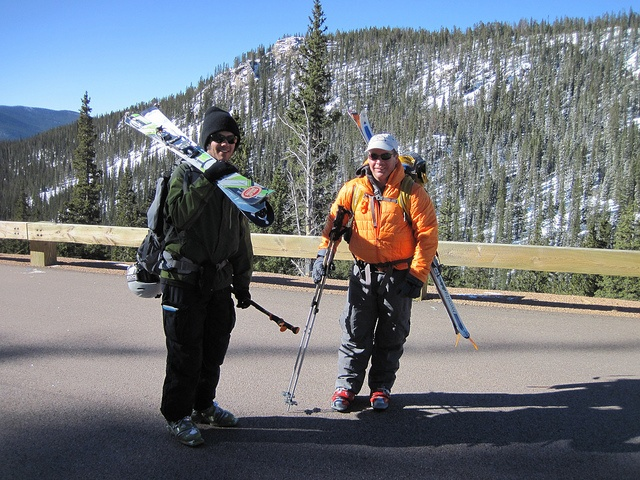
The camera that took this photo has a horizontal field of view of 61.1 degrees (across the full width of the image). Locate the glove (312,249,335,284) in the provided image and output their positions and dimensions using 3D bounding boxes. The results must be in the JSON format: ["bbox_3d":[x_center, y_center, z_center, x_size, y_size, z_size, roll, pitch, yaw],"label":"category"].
[{"bbox_3d":[0.013,0.271,6.558,0.131,0.529,0.152,21,-24,5],"label":"glove"}]

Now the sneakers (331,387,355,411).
[{"bbox_3d":[0.253,1.826,6.263,0.266,0.213,0.238,1,12,-2],"label":"sneakers"}]

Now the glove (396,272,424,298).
[{"bbox_3d":[1.002,0.538,6.210,0.202,0.287,0.288,29,-10,15],"label":"glove"}]

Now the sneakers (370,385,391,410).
[{"bbox_3d":[0.700,1.825,6.298,0.237,0.192,0.242,1,12,-3],"label":"sneakers"}]

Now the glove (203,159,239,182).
[{"bbox_3d":[-0.989,-0.670,5.336,0.193,0.259,0.104,46,-13,26],"label":"glove"}]

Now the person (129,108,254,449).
[{"bbox_3d":[-1.211,0.336,5.600,0.625,3.322,1.083,10,14,40],"label":"person"}]

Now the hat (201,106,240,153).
[{"bbox_3d":[-1.079,-1.218,5.733,0.343,0.389,0.281,-4,4,0],"label":"hat"}]

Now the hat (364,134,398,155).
[{"bbox_3d":[0.724,-1.130,6.353,0.377,0.210,0.359,1,12,-2],"label":"hat"}]
